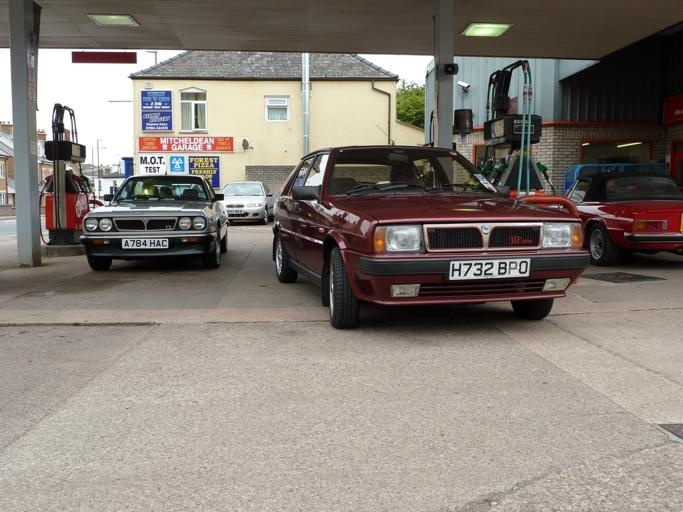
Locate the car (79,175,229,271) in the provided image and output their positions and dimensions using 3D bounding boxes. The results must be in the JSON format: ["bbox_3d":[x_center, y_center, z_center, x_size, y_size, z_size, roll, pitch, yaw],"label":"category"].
[{"bbox_3d":[-3.006,-0.721,9.235,1.625,0.986,2.564,-1,1,-2],"label":"car"}]

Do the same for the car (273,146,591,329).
[{"bbox_3d":[0.649,-0.296,5.408,2.014,1.869,2.954,-5,9,-30],"label":"car"}]
